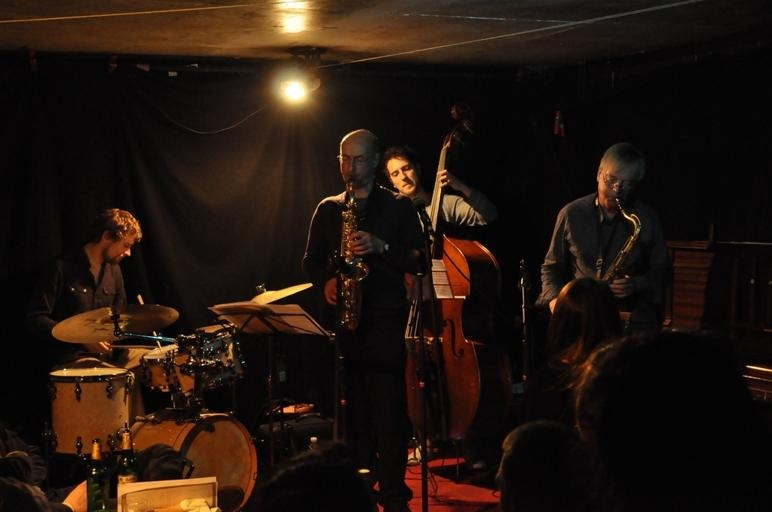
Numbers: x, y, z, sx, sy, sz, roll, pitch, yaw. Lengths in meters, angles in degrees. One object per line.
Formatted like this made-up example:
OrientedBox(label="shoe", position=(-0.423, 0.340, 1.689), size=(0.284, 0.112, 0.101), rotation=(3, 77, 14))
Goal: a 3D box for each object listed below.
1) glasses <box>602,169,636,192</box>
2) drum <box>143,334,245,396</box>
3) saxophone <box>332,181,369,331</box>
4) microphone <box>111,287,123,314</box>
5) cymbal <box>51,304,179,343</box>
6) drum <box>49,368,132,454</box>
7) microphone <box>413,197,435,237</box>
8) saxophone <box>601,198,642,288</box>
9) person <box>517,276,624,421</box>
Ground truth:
OrientedBox(label="glasses", position=(1.612, -0.513, 5.596), size=(0.137, 0.073, 0.172), rotation=(12, -42, 9))
OrientedBox(label="drum", position=(-1.388, 0.769, 5.905), size=(0.449, 0.262, 0.578), rotation=(-10, 4, 41))
OrientedBox(label="saxophone", position=(-0.216, 0.009, 5.205), size=(0.194, 0.931, 0.348), rotation=(0, -2, -2))
OrientedBox(label="microphone", position=(-2.114, 0.349, 6.348), size=(0.091, 0.173, 0.056), rotation=(4, 9, 41))
OrientedBox(label="cymbal", position=(-1.984, 0.488, 5.950), size=(0.499, 0.111, 0.485), rotation=(-12, -21, -9))
OrientedBox(label="drum", position=(-2.112, 1.067, 6.003), size=(0.688, 0.618, 0.667), rotation=(0, -2, -2))
OrientedBox(label="microphone", position=(0.249, -0.248, 5.041), size=(0.103, 0.312, 0.129), rotation=(-10, -2, -8))
OrientedBox(label="saxophone", position=(1.629, -0.101, 5.619), size=(0.266, 0.553, 0.127), rotation=(-1, -2, 13))
OrientedBox(label="person", position=(0.980, 0.574, 4.537), size=(0.330, 0.867, 0.477), rotation=(-4, 19, -37))
